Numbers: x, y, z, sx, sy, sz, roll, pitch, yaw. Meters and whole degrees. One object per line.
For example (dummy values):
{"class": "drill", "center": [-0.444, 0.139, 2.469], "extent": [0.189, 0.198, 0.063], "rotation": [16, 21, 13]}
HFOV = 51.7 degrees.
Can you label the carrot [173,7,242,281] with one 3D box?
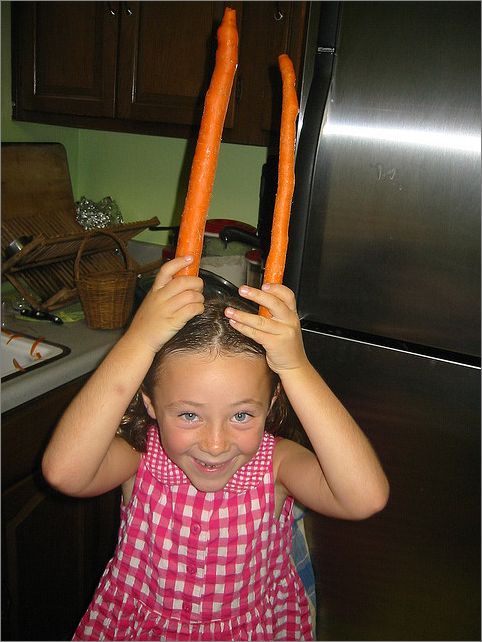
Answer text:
{"class": "carrot", "center": [-0.039, -0.197, 0.552], "extent": [0.056, 0.289, 0.158], "rotation": [3, 18, -4]}
